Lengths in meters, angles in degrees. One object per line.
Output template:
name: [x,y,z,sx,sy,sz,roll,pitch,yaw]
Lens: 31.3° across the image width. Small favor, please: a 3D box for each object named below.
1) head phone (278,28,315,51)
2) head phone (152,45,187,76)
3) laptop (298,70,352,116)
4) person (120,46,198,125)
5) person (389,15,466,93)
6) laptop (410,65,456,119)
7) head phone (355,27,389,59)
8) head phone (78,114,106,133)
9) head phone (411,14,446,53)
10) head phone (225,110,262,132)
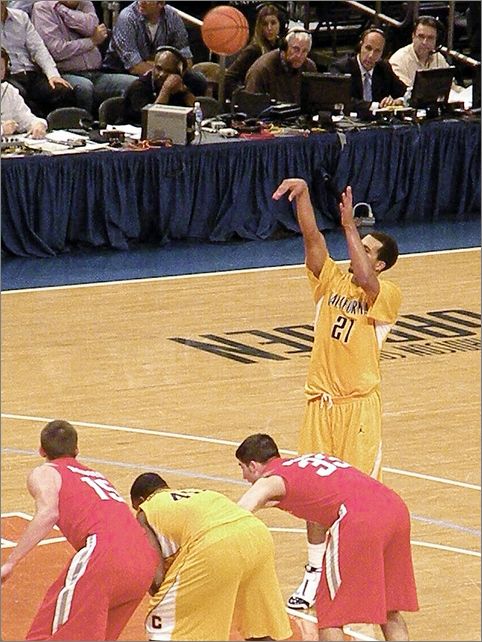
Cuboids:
head phone: [0.585,-2.987,9.061,0.324,0.227,0.235,1,7,-1]
head phone: [-0.762,-2.653,8.805,0.287,0.353,0.381,12,15,1]
laptop: [0.875,-2.350,8.891,0.622,0.542,0.307,0,41,6]
person: [-0.870,-2.440,8.949,0.780,1.238,0.781,-5,27,-15]
person: [2.199,-3.110,10.280,0.793,0.980,0.608,-2,21,-7]
laptop: [2.060,-2.496,9.393,0.566,0.563,0.284,-3,9,-33]
head phone: [1.474,-3.172,9.674,0.302,0.341,0.565,2,7,6]
head phone: [-1.519,-1.984,8.666,0.260,0.183,0.187,-26,23,-14]
head phone: [2.220,-3.459,10.077,0.422,0.539,0.233,6,25,1]
head phone: [0.030,-2.053,8.892,0.228,0.084,0.354,-9,28,-10]
